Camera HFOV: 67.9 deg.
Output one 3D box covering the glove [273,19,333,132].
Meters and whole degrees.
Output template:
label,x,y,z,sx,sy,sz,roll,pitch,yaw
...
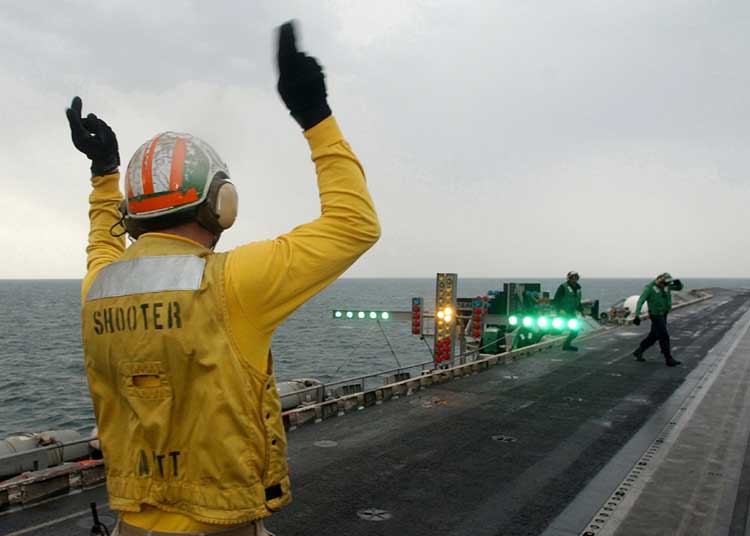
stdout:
label,x,y,z,sx,sy,sz,roll,pitch,yaw
glove,-0.382,-1.024,2.924,0.280,0.576,0.142,-1,-2,-6
